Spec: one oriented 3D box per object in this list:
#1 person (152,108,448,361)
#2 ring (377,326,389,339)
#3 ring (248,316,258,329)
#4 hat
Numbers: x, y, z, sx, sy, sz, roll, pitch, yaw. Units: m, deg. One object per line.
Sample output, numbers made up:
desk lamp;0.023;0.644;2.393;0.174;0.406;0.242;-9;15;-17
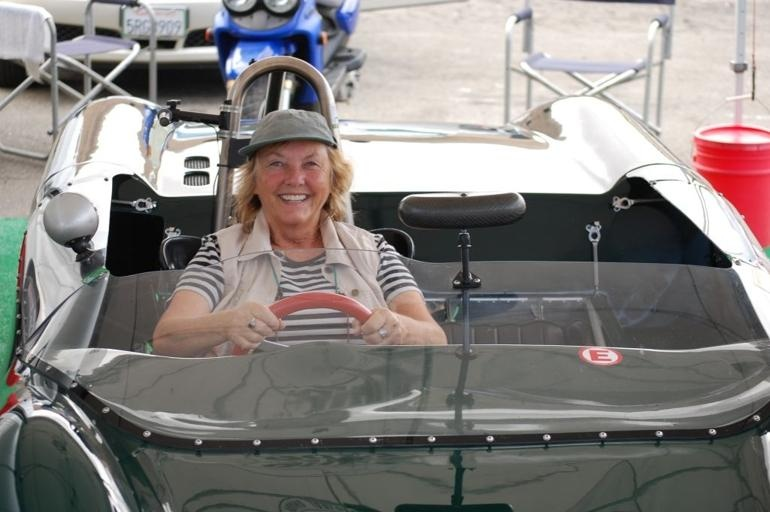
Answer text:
person;-0.270;-0.064;2.807;0.730;0.486;0.990;0;33;-9
ring;-0.013;0.208;2.550;0.022;0.026;0.024;5;-1;1
ring;-0.364;0.178;2.526;0.016;0.028;0.027;10;-13;-5
hat;-0.316;-0.363;2.921;0.203;0.103;0.172;3;5;28
